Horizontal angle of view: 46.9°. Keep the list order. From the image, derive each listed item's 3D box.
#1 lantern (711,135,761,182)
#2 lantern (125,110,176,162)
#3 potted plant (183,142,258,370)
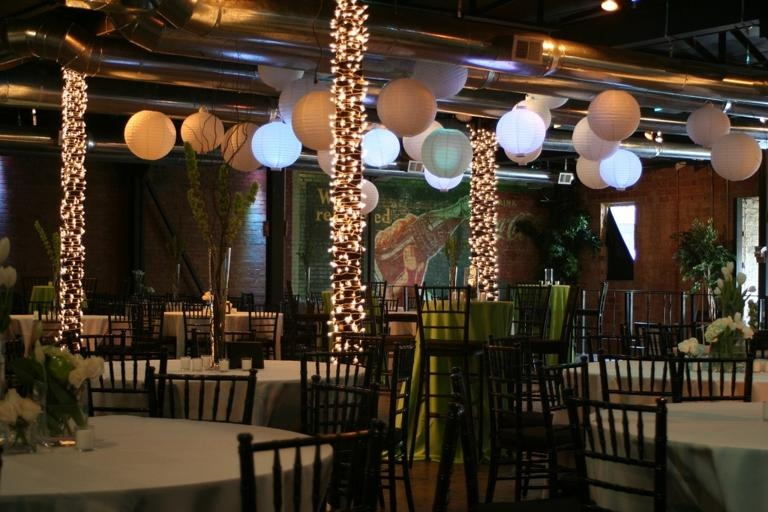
[{"bbox_3d":[4.350,-1.201,10.965,0.420,0.638,0.460,-1,1,-37],"label":"lantern"},{"bbox_3d":[-2.872,-1.484,10.916,0.477,0.650,0.543,1,2,-9],"label":"lantern"},{"bbox_3d":[-2.280,-0.050,12.096,0.699,3.213,0.626,-3,2,-18],"label":"potted plant"}]
